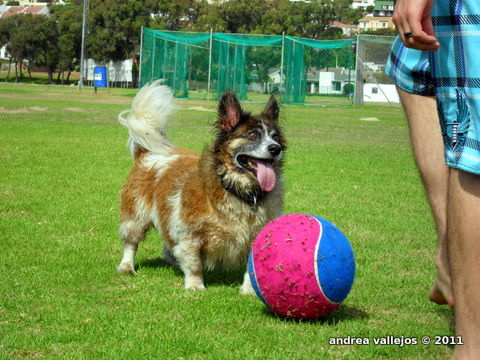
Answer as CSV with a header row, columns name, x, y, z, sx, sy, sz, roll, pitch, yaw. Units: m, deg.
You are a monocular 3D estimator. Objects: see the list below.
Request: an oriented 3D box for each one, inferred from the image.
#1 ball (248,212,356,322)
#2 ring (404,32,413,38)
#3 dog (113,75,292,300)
name,x,y,z,sx,sy,sz,roll,pitch,yaw
ball,0.476,0.721,4.016,0.784,0.797,0.344,3,11,8
ring,0.907,-0.781,2.791,0.046,0.029,0.009,13,15,42
dog,-0.451,0.051,5.006,1.677,1.847,0.839,8,12,29
